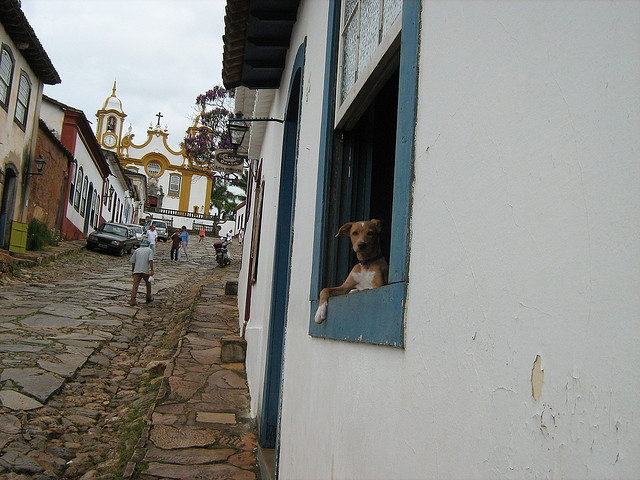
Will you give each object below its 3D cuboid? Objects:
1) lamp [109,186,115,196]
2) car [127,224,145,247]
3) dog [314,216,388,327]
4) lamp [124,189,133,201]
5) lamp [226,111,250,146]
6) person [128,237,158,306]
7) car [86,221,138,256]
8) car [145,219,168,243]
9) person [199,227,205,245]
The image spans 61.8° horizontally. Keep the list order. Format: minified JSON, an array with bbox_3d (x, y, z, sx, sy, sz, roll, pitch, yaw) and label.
[{"bbox_3d":[-13.163,-3.101,33.742,0.107,0.459,0.481,5,-12,4],"label":"lamp"},{"bbox_3d":[-8.603,-0.195,24.936,0.758,0.798,1.768,4,-7,-3],"label":"car"},{"bbox_3d":[0.235,0.121,2.717,0.287,0.456,0.790,5,6,30],"label":"dog"},{"bbox_3d":[-15.311,-3.626,42.722,0.280,0.870,0.580,12,3,-15],"label":"lamp"},{"bbox_3d":[-1.253,-1.760,8.246,0.275,0.532,0.718,7,1,-9],"label":"lamp"},{"bbox_3d":[-4.087,0.735,12.463,0.580,1.446,1.651,7,1,-17],"label":"person"},{"bbox_3d":[-8.880,-0.040,22.891,1.344,1.312,2.842,7,2,-8],"label":"car"},{"bbox_3d":[-9.499,-0.536,31.255,0.917,0.946,2.125,3,17,-17],"label":"car"},{"bbox_3d":[-8.138,-0.174,36.798,0.289,1.010,1.656,7,2,-16],"label":"person"}]
